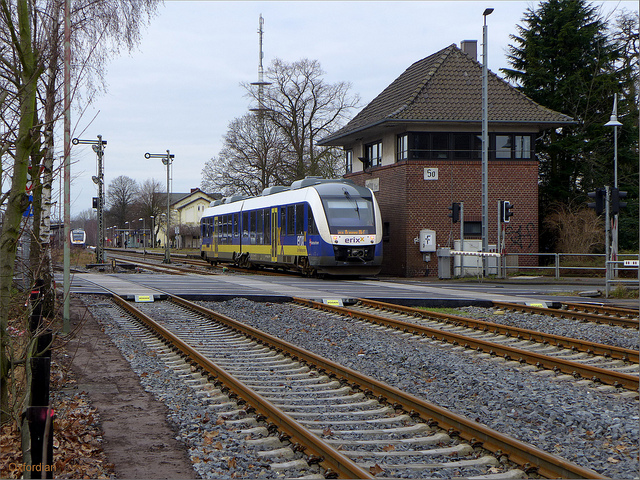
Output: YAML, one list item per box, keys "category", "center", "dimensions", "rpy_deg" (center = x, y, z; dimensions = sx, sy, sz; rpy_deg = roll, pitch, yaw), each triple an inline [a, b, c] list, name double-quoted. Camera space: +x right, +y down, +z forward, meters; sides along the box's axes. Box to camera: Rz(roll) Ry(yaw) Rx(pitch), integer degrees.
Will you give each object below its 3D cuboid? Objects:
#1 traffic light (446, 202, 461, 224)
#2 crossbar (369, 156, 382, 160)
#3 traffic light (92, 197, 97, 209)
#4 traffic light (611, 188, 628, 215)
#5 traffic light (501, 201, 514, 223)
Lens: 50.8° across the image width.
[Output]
- category: "traffic light"
  center: [5.785, -1.183, 28.999]
  dimensions: [0.596, 1.417, 0.356]
  rpy_deg: [-3, -33, 17]
- category: "crossbar"
  center: [2.878, -4.191, 34.698]
  dimensions: [0.042, 0.070, 1.399]
  rpy_deg: [-1, -1, -21]
- category: "traffic light"
  center: [-13.628, -2.192, 40.796]
  dimensions: [0.222, 0.538, 0.389]
  rpy_deg: [-1, 0, -19]
- category: "traffic light"
  center: [9.664, -1.258, 21.698]
  dimensions: [0.413, 0.881, 2.623]
  rpy_deg: [0, 0, 23]
- category: "traffic light"
  center: [7.731, -1.168, 27.819]
  dimensions: [0.430, 0.836, 0.626]
  rpy_deg: [-1, 0, 13]
